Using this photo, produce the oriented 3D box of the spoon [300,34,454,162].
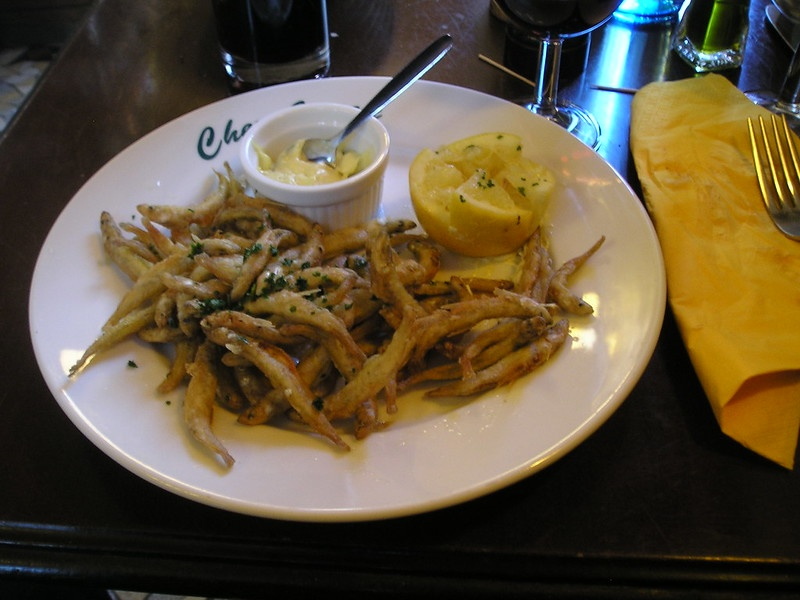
[{"bbox_3d":[-0.046,-0.500,1.633,0.141,0.095,0.755,11,45,30],"label":"spoon"}]
